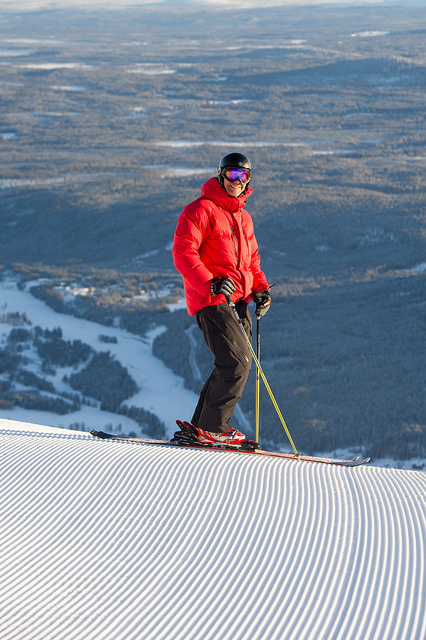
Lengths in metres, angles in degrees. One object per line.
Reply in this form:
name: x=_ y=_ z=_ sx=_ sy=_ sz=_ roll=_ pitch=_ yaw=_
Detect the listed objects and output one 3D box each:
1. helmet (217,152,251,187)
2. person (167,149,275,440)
helmet: x=0.122 y=-0.862 z=6.232 sx=0.199 sy=0.190 sz=0.202 roll=1 pitch=11 yaw=1
person: x=0.055 y=-0.106 z=6.421 sx=0.546 sy=1.749 sz=0.663 roll=2 pitch=12 yaw=7
